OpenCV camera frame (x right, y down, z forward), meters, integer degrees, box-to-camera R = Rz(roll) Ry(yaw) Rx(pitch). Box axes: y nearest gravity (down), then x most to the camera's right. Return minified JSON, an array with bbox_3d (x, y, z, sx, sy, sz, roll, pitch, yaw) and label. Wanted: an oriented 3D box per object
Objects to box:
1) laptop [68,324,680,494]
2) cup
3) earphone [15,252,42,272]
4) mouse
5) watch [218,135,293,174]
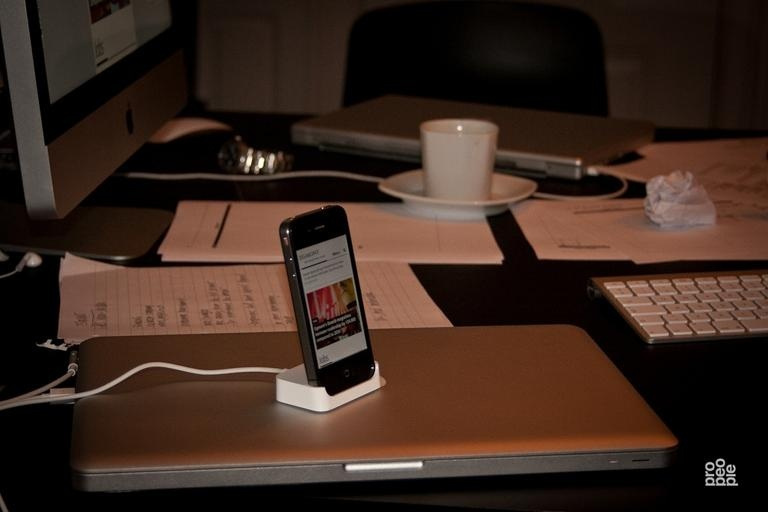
[{"bbox_3d":[-0.013,0.131,0.504,0.346,0.033,0.193,-1,18,-3],"label":"laptop"},{"bbox_3d":[0.094,-0.159,0.937,0.129,0.122,0.114,-4,22,-9],"label":"cup"},{"bbox_3d":[-0.442,0.006,0.761,0.020,0.011,0.028,9,23,22],"label":"earphone"},{"bbox_3d":[-0.375,-0.211,1.156,0.119,0.031,0.125,-4,-6,-10],"label":"mouse"},{"bbox_3d":[-0.228,-0.168,1.088,0.113,0.069,0.106,3,3,-32],"label":"watch"}]
